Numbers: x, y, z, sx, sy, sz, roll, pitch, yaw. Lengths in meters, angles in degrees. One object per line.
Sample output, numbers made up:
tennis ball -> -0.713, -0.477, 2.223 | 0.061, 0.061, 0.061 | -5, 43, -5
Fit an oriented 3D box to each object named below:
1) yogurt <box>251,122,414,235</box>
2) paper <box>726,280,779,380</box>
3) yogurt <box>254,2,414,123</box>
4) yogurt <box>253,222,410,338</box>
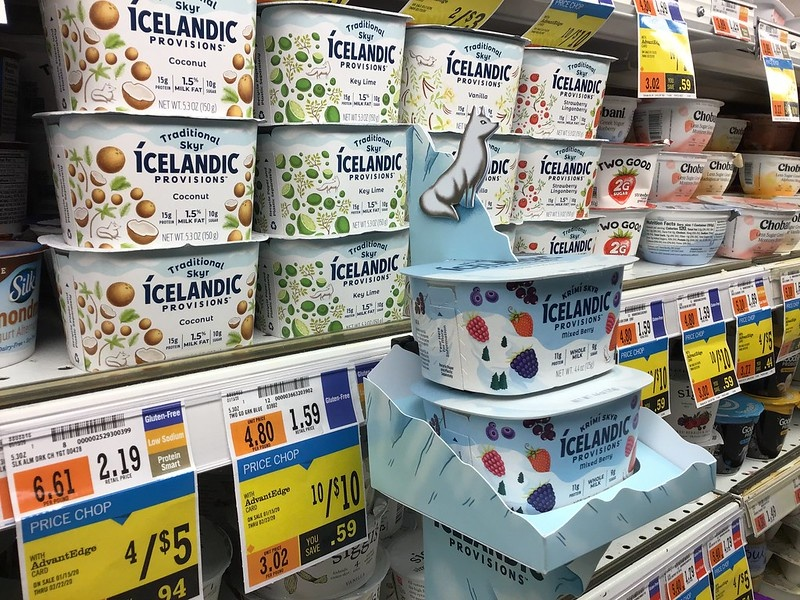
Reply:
yogurt -> -0.130, -0.231, 1.138 | 0.252, 0.173, 0.200 | -8, 14, -37
paper -> 1.045, 0.084, 1.704 | 0.023, 0.279, 0.234 | 2, 18, 45
yogurt -> -0.124, -0.412, 1.059 | 0.249, 0.165, 0.200 | -8, 22, -27
yogurt -> -0.128, -0.056, 1.095 | 0.260, 0.146, 0.193 | -5, 9, -33
